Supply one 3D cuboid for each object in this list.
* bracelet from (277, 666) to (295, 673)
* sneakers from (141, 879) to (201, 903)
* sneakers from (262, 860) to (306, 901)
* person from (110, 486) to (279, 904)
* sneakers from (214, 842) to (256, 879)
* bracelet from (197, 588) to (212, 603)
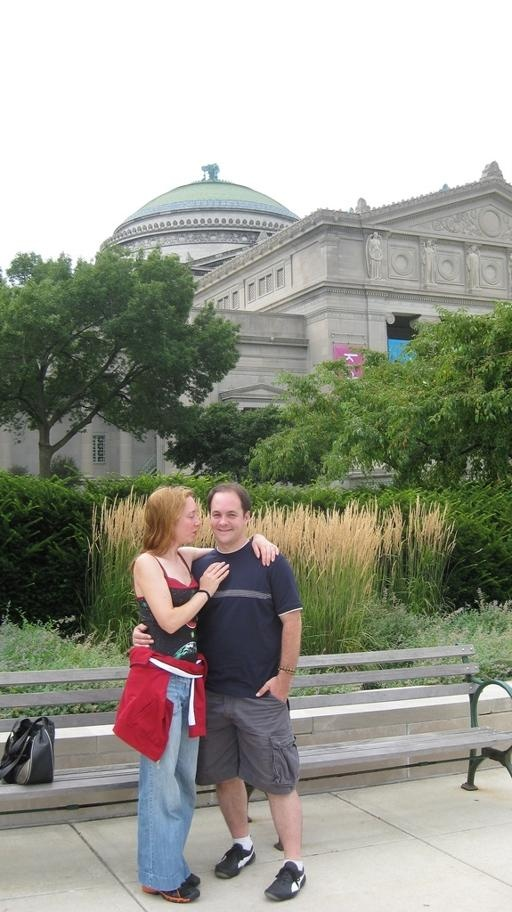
[{"bbox_3d":[0.130,0.930,4.072,0.040,0.021,0.033,0,-5,36],"label":"bracelet"},{"bbox_3d":[-0.357,1.800,3.874,0.193,0.087,0.089,-4,1,4],"label":"sneakers"},{"bbox_3d":[0.140,1.764,3.922,0.108,0.134,0.274,-4,-5,36],"label":"sneakers"},{"bbox_3d":[-0.376,0.981,3.977,0.511,1.711,0.339,1,-5,-26],"label":"person"},{"bbox_3d":[-0.093,1.795,4.111,0.073,0.092,0.220,7,-12,26],"label":"sneakers"},{"bbox_3d":[-0.222,0.587,3.965,0.050,0.012,0.048,28,-41,13],"label":"bracelet"}]
